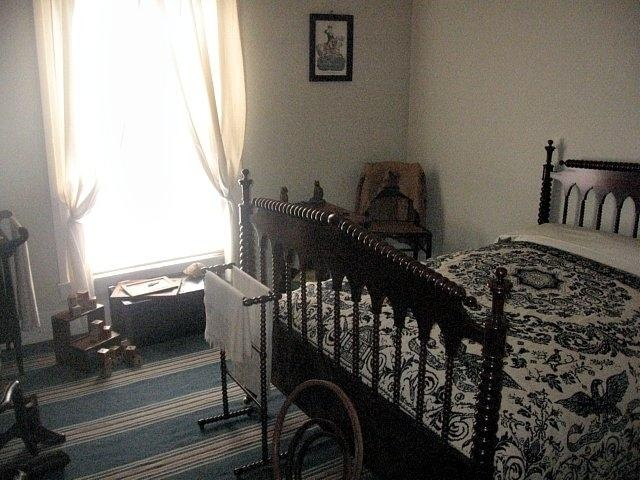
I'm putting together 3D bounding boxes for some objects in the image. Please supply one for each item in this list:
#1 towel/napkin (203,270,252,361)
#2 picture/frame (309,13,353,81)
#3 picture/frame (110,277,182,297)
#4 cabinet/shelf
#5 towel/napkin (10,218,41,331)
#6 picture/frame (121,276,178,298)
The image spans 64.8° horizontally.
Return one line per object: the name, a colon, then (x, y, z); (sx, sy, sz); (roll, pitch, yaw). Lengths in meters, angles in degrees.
towel/napkin: (-0.558, 0.435, 2.977); (0.102, 0.463, 0.551); (-11, 20, -37)
picture/frame: (0.088, -1.895, 4.882); (0.575, 0.822, 0.056); (-4, 10, -26)
picture/frame: (-1.459, 0.393, 4.269); (0.299, 0.045, 0.223); (-9, 19, -31)
cabinet/shelf: (-0.458, 0.822, 3.104); (0.384, 1.055, 0.897); (-7, 17, -27)
towel/napkin: (-2.356, 0.268, 3.899); (0.081, 0.830, 0.171); (-14, -11, 19)
picture/frame: (-1.460, 0.401, 4.270); (0.536, 0.065, 0.407); (-6, 9, -34)
